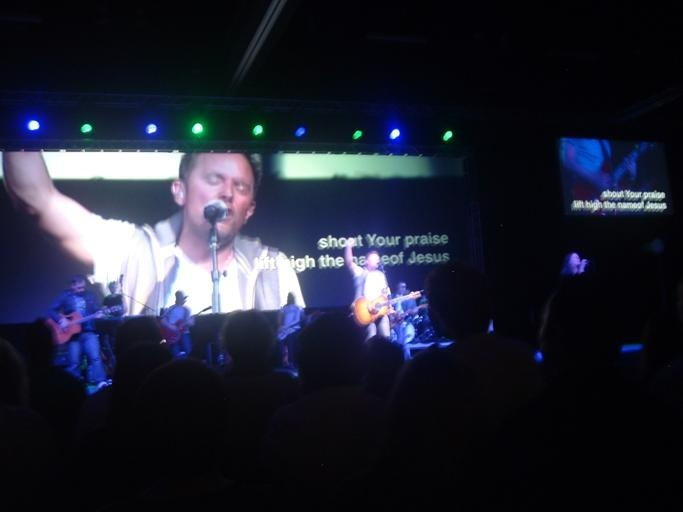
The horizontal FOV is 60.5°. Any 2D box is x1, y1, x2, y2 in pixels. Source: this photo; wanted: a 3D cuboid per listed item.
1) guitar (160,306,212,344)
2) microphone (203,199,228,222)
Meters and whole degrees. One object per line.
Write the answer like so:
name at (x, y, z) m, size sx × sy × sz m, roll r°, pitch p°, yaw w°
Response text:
guitar at (-1.717, 0.719, 6.568) m, size 0.566 × 0.261 × 0.074 m, roll -27°, pitch -16°, yaw -18°
microphone at (-1.417, -0.502, 6.690) m, size 0.241 × 0.225 × 0.183 m, roll 0°, pitch 5°, yaw -6°
